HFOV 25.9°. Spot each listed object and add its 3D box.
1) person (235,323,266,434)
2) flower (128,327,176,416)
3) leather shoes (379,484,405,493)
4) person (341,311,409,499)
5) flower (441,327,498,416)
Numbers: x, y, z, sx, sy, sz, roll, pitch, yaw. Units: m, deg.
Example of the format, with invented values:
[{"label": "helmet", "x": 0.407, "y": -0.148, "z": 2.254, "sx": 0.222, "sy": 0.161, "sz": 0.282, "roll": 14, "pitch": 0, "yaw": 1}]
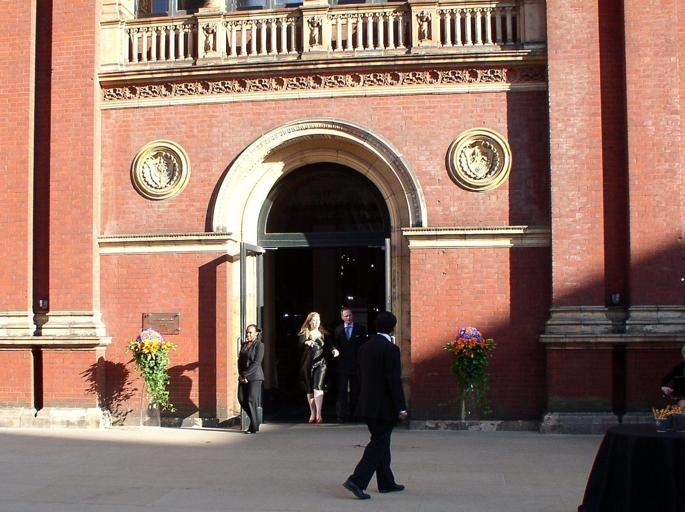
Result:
[{"label": "person", "x": -1.698, "y": 2.189, "z": 27.185, "sx": 0.456, "sy": 1.933, "sz": 0.414, "roll": -1, "pitch": -4, "yaw": -6}, {"label": "flower", "x": -3.508, "y": 2.072, "z": 27.482, "sx": 0.748, "sy": 1.554, "sz": 0.786, "roll": -2, "pitch": -4, "yaw": 4}, {"label": "leather shoes", "x": 0.755, "y": 3.528, "z": 23.095, "sx": 0.413, "sy": 0.172, "sz": 0.139, "roll": -4, "pitch": 2, "yaw": -13}, {"label": "person", "x": 0.489, "y": 2.239, "z": 23.023, "sx": 0.911, "sy": 2.798, "sz": 0.722, "roll": -1, "pitch": -4, "yaw": 2}, {"label": "flower", "x": 2.305, "y": 2.071, "z": 26.868, "sx": 0.816, "sy": 1.638, "sz": 0.730, "roll": -2, "pitch": -4, "yaw": 6}]
